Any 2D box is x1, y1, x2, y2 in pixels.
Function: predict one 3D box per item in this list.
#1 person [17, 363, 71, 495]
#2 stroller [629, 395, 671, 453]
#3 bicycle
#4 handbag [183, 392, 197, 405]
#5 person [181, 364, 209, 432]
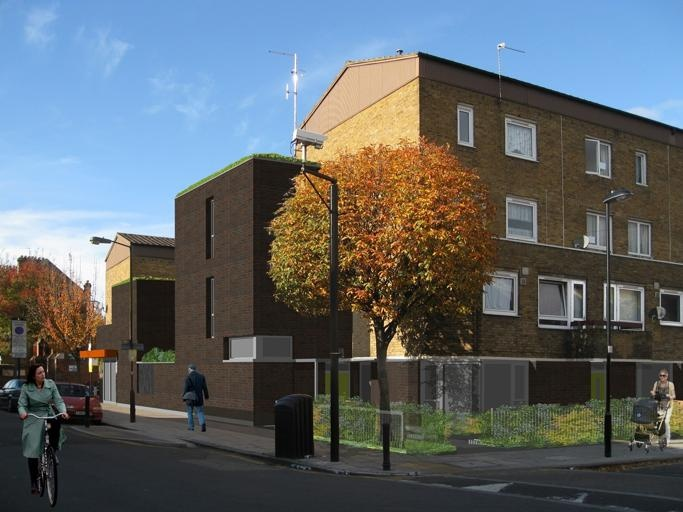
[{"bbox_3d":[-7.217,4.124,24.193,1.318,3.189,1.138,9,-9,-37],"label":"person"},{"bbox_3d":[9.823,5.404,32.241,0.900,1.590,1.246,0,3,39],"label":"stroller"},{"bbox_3d":[-6.896,4.784,23.419,0.706,2.192,1.501,4,-11,-17],"label":"bicycle"},{"bbox_3d":[-5.257,5.035,35.040,0.494,0.429,0.372,3,-11,-14],"label":"handbag"},{"bbox_3d":[-5.097,5.036,35.179,0.902,2.350,0.900,1,-6,-21],"label":"person"}]
